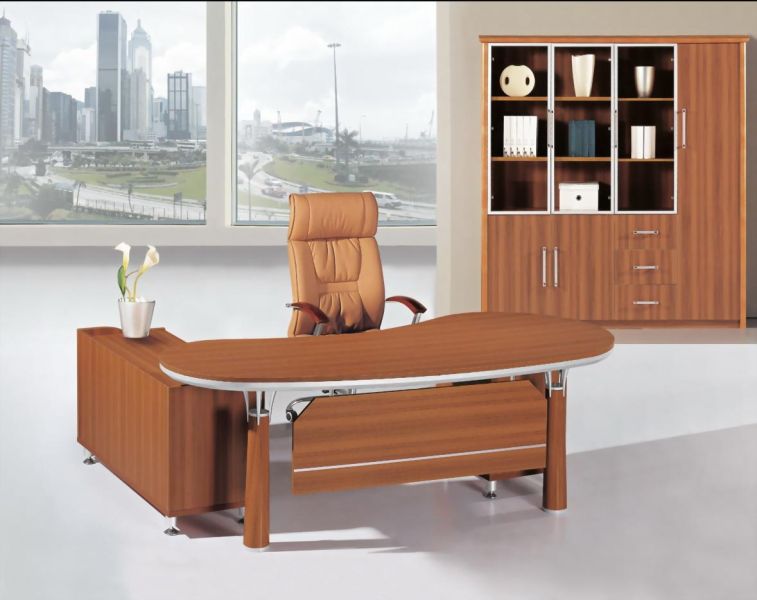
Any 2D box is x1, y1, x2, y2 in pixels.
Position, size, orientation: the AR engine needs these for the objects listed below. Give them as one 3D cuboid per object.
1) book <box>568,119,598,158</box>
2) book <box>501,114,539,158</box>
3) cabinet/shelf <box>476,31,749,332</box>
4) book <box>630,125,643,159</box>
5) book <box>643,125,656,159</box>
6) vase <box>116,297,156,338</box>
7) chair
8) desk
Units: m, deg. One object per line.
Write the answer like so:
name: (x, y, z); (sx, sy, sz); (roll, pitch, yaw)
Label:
book: (1.646, -1.308, 6.085); (0.261, 0.377, 0.268); (0, 5, 0)
book: (1.132, -1.322, 6.098); (0.276, 0.394, 0.376); (1, 7, 3)
cabinet/shelf: (1.916, -0.942, 5.987); (2.267, 2.597, 0.734); (1, 0, 1)
book: (2.089, -1.277, 6.057); (0.100, 0.262, 0.061); (0, 13, 1)
book: (2.192, -1.276, 6.049); (0.097, 0.262, 0.053); (0, 13, 3)
vase: (-1.400, 0.093, 4.332); (0.205, 0.224, 0.204); (-5, 16, -36)
chair: (-0.182, 0.011, 4.619); (0.770, 1.197, 0.865); (-4, 21, -14)
desk: (0.094, 0.631, 3.599); (2.072, 0.872, 0.834); (-4, 14, -18)
